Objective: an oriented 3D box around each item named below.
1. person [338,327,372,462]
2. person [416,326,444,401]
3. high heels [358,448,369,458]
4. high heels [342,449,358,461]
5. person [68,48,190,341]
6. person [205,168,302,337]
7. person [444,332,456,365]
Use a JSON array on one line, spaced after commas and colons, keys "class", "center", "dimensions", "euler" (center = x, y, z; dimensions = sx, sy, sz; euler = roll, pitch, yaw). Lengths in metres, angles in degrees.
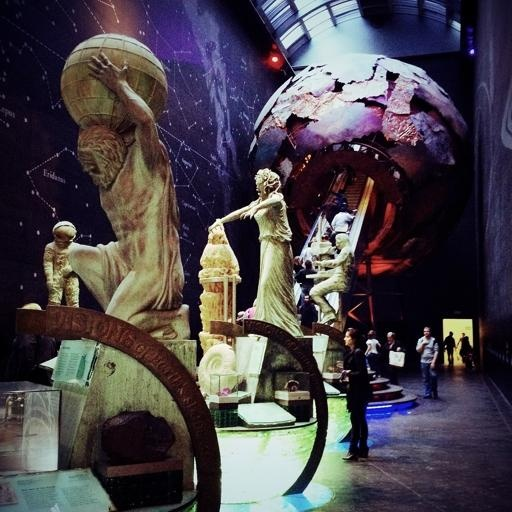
[{"class": "person", "center": [1.328, 1.771, 6.025], "dimensions": [0.355, 1.607, 0.752], "euler": [-3, -9, 14]}, {"class": "person", "center": [3.878, 2.374, 10.152], "dimensions": [0.429, 1.519, 0.912], "euler": [-4, -9, 20]}, {"class": "high heels", "center": [1.353, 2.436, 5.674], "dimensions": [0.099, 0.129, 0.101], "euler": [-3, 3, -17]}, {"class": "high heels", "center": [1.176, 2.490, 5.669], "dimensions": [0.205, 0.170, 0.078], "euler": [1, -13, 8]}, {"class": "person", "center": [-0.666, -0.282, 2.529], "dimensions": [0.693, 1.480, 0.531], "euler": [3, -9, -25]}, {"class": "person", "center": [0.173, -0.087, 5.956], "dimensions": [0.804, 2.266, 0.542], "euler": [-1, -8, -4]}, {"class": "person", "center": [7.599, 3.592, 17.681], "dimensions": [0.412, 1.291, 1.773], "euler": [-5, -10, 22]}]
